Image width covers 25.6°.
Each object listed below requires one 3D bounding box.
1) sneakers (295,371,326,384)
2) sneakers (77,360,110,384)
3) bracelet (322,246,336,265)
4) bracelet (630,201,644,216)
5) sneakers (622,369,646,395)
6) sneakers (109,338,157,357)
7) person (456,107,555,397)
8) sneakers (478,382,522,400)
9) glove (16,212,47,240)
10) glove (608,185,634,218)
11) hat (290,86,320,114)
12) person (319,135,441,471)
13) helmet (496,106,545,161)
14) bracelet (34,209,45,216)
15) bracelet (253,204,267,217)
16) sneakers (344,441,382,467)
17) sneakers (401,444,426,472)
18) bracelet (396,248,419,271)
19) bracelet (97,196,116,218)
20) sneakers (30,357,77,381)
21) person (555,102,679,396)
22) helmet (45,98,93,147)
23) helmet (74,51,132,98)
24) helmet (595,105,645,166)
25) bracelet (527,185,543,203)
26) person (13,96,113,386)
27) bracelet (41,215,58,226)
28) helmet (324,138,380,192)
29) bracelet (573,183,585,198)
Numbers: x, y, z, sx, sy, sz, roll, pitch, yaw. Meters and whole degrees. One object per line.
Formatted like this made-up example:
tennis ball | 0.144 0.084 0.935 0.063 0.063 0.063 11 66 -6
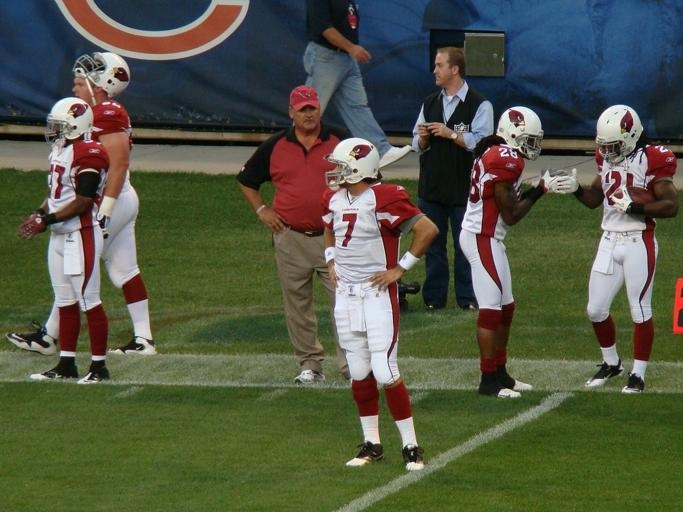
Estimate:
sneakers | -0.274 1.052 12.895 0.279 0.104 0.096 3 -3 -21
sneakers | -2.106 0.979 12.767 0.264 0.189 0.240 -1 6 -10
bracelet | -0.097 -0.006 11.797 0.119 0.114 0.122 -1 -11 19
bracelet | 2.443 -0.396 12.401 0.114 0.100 0.082 1 6 11
sneakers | 2.431 1.053 12.477 0.181 0.154 0.241 1 6 10
sneakers | -1.879 0.839 13.779 0.498 0.188 0.161 2 1 -4
person | 1.350 -0.039 12.456 0.700 2.385 0.499 0 6 -2
sneakers | 1.293 1.125 12.390 0.366 0.129 0.119 -1 3 20
glove | -2.614 -0.242 12.738 0.245 0.182 0.078 -39 -15 8
glove | 2.327 -0.452 12.476 0.220 0.208 0.103 -32 -17 -13
hat | -0.309 -1.351 12.852 0.244 0.208 0.245 0 5 1
person | 0.287 0.352 11.319 0.788 2.441 0.609 0 6 4
helmet | 1.507 -1.078 12.684 0.491 0.421 0.345 8 16 17
bracelet | -2.599 -0.377 12.949 0.073 0.061 0.073 4 -1 42
bracelet | -0.694 -0.401 13.025 0.095 0.033 0.083 -38 0 -32
sneakers | 0.202 1.495 11.353 0.362 0.145 0.126 -4 5 -38
sneakers | 0.543 1.498 11.210 0.165 0.192 0.204 0 6 3
bracelet | 0.493 0.057 11.481 0.132 0.156 0.140 32 66 34
bracelet | -2.079 -0.443 13.249 0.137 0.188 0.114 27 -28 -29
sneakers | -2.406 0.970 12.798 0.482 0.206 0.158 3 -1 -4
person | 2.373 -0.079 12.641 0.829 2.377 0.759 -1 6 -5
helmet | -2.370 -1.147 12.805 0.461 0.347 0.346 -3 18 1
helmet | -2.195 -1.687 13.629 0.489 0.350 0.385 21 6 0
helmet | 2.332 -1.019 12.562 0.387 0.477 0.246 1 6 8
bracelet | 1.599 -0.514 12.398 0.060 0.093 0.165 8 -9 -13
person | -2.339 -0.141 12.796 0.735 2.408 0.495 0 6 3
bracelet | -2.447 -0.308 12.614 0.092 0.103 0.066 -7 25 -7
helmet | 0.081 -0.683 11.430 0.452 0.339 0.324 -1 18 -2
bracelet | 2.046 -0.563 12.862 0.050 0.068 0.176 -37 4 39
